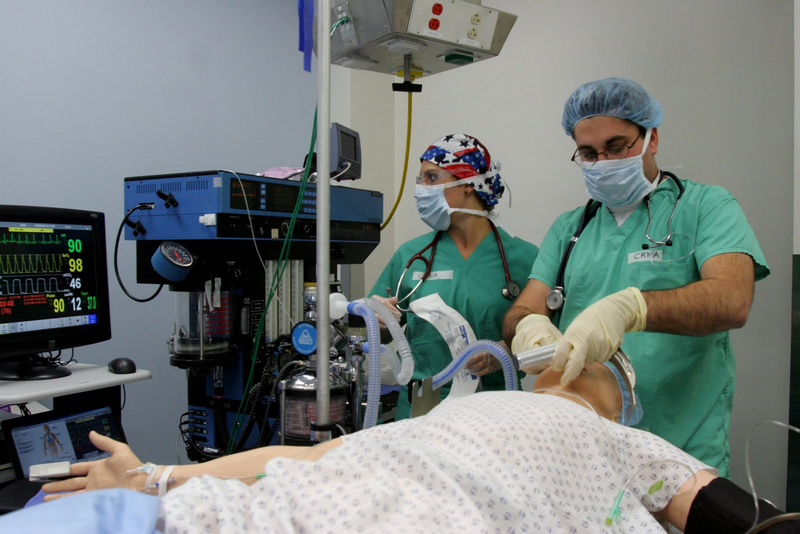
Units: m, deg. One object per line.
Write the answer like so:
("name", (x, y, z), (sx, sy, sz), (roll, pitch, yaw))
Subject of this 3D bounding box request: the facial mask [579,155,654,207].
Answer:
("facial mask", (0.848, -0.337, 2.512), (0.239, 0.182, 0.270), (-11, -10, 13))

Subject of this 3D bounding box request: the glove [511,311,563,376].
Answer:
("glove", (0.518, 0.303, 2.449), (0.153, 0.115, 0.279), (14, 22, -8))

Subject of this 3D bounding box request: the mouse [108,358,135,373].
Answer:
("mouse", (-1.257, 0.449, 2.955), (0.076, 0.048, 0.080), (4, 1, -15))

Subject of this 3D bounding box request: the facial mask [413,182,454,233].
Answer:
("facial mask", (0.160, -0.282, 3.143), (0.188, 0.163, 0.171), (-14, 15, -9))

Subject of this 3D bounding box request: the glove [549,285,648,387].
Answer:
("glove", (0.792, 0.208, 2.539), (0.208, 0.313, 0.599), (35, 8, 6))
